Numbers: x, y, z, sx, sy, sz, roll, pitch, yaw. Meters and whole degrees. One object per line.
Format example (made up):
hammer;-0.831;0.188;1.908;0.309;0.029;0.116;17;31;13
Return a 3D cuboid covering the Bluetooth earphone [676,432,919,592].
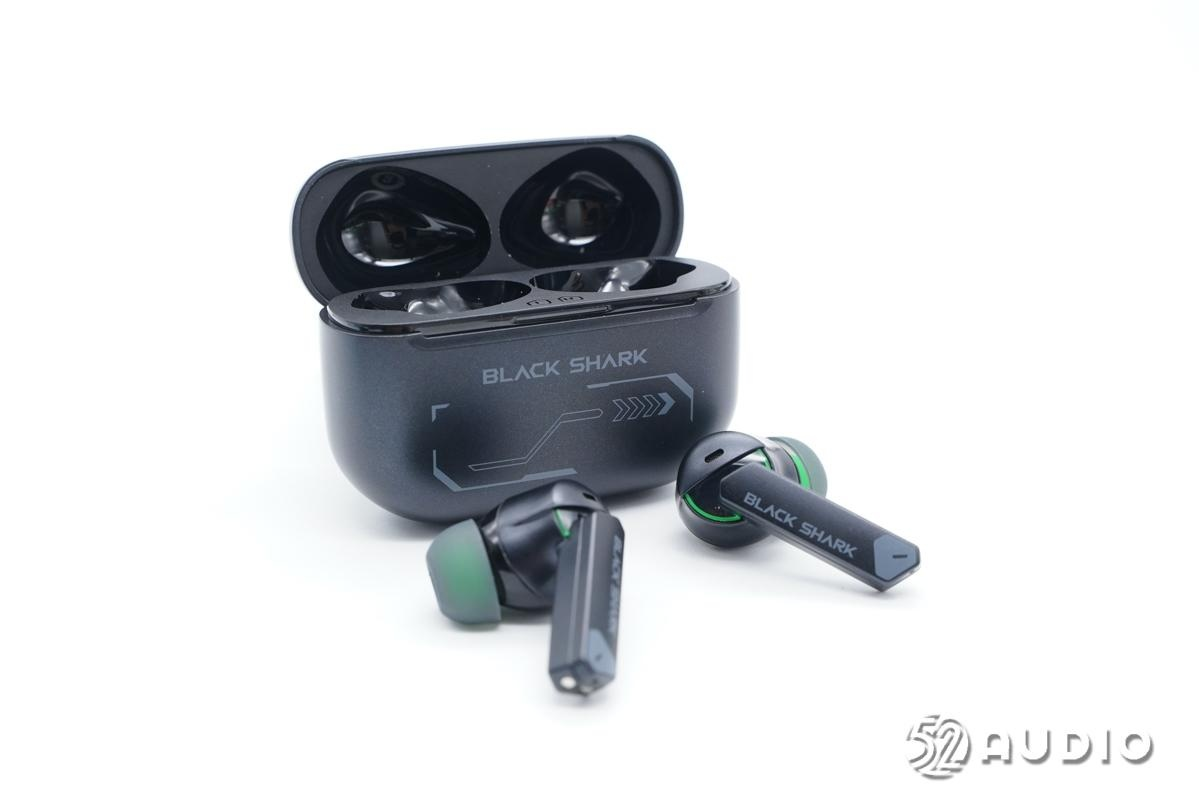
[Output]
Bluetooth earphone;0.528;0.303;3.179;0.664;0.224;0.500;36;55;27

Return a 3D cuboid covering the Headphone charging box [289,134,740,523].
Headphone charging box;-0.224;-0.223;3.467;1.286;1.019;0.770;-10;28;-10

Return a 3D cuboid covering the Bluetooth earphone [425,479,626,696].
Bluetooth earphone;-0.158;0.460;2.847;0.487;0.345;0.499;-9;25;-9
